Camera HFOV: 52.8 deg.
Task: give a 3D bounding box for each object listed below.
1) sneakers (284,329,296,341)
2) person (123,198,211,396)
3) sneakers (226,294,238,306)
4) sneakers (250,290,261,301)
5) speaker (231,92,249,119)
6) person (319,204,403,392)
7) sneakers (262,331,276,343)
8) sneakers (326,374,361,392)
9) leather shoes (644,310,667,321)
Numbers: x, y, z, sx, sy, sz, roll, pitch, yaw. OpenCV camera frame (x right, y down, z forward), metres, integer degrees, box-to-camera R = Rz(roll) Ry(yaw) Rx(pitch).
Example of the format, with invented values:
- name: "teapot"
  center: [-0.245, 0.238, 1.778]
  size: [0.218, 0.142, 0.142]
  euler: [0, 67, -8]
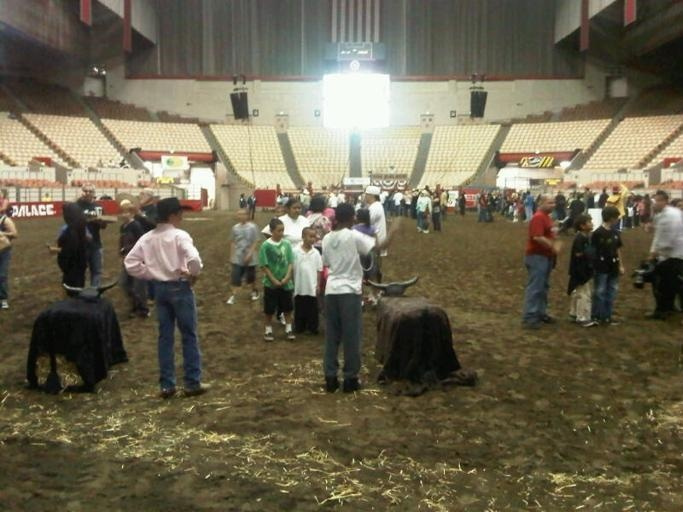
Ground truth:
- name: "sneakers"
  center: [-0.764, 1.132, 10.337]
  size: [0.143, 0.172, 0.256]
  euler: [-2, 13, -5]
- name: "person"
  center: [-2.114, 0.483, 8.297]
  size: [0.814, 2.352, 0.639]
  euler: [-5, 13, -18]
- name: "sneakers"
  center: [-1.987, 0.782, 12.292]
  size: [0.132, 0.092, 0.175]
  euler: [-5, 21, 8]
- name: "sneakers"
  center: [-1.593, 0.724, 12.671]
  size: [0.154, 0.184, 0.164]
  euler: [2, -3, 8]
- name: "speaker"
  center: [-7.414, -11.015, 50.043]
  size: [1.580, 2.437, 0.579]
  euler: [-3, 13, 1]
- name: "person"
  center: [0.107, 0.494, 8.478]
  size: [0.690, 2.264, 0.643]
  euler: [-2, 12, -2]
- name: "sneakers"
  center: [-1.087, 1.197, 10.245]
  size: [0.143, 0.119, 0.232]
  euler: [2, -4, -8]
- name: "sneakers"
  center: [0.019, 1.551, 8.418]
  size: [0.162, 0.207, 0.485]
  euler: [2, 4, 26]
- name: "leather shoes"
  center: [5.119, 0.934, 11.059]
  size: [0.205, 0.076, 0.204]
  euler: [-12, 11, -29]
